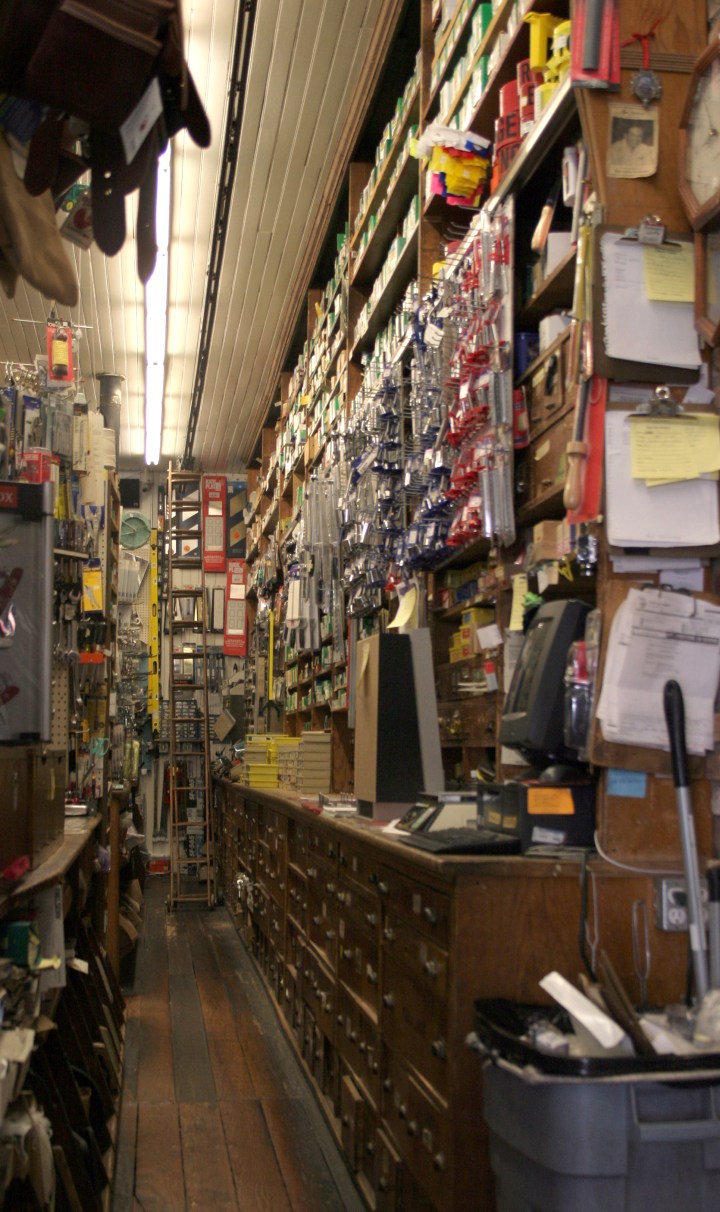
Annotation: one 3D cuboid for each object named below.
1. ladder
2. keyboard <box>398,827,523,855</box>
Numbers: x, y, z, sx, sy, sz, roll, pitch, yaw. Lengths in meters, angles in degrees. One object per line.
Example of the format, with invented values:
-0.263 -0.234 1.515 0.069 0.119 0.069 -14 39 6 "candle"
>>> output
-2.285 1.282 11.581 0.728 7.559 0.682 1 0 -19 "ladder"
0.211 0.497 1.839 0.201 0.034 0.408 -1 -12 -6 "keyboard"
